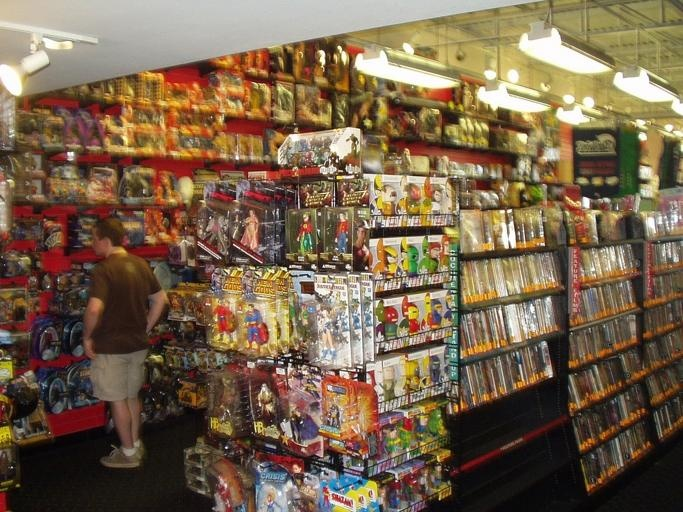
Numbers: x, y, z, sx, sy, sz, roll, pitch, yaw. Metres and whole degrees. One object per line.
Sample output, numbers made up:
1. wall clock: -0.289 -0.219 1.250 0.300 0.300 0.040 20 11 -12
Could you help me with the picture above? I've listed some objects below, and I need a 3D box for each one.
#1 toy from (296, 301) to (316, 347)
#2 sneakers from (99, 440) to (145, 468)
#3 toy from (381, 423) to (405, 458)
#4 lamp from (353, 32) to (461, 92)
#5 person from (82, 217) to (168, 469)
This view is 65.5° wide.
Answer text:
1. toy: -0.201 0.402 3.157 0.071 0.299 0.225 -5 7 -19
2. sneakers: -2.018 1.787 4.828 0.427 0.196 0.173 3 2 2
3. toy: 0.314 1.111 3.212 0.156 0.190 0.046 -9 9 -40
4. lamp: 0.664 -2.055 5.240 0.757 0.184 0.440 14 1 -21
5. person: -1.882 0.783 4.627 0.654 2.227 0.398 -8 9 -41
